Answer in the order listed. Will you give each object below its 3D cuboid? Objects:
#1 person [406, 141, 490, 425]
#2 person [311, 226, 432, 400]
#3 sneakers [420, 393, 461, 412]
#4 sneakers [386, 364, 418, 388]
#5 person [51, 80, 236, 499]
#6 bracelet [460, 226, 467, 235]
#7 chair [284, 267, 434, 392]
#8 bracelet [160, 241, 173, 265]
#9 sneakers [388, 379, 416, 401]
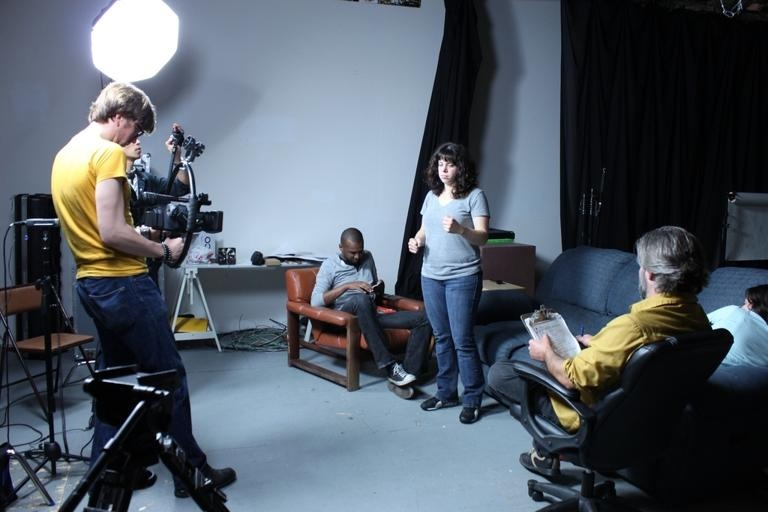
[{"bbox_3d":[0.457,0.171,3.636,0.519,1.798,0.471,5,14,18],"label":"person"},{"bbox_3d":[-0.090,0.404,4.205,0.706,1.257,0.960,-4,-9,-29],"label":"person"},{"bbox_3d":[0.395,1.030,3.814,0.274,0.126,0.103,1,-2,-16],"label":"sneakers"},{"bbox_3d":[0.118,0.867,3.982,0.106,0.135,0.287,-34,9,-18],"label":"sneakers"},{"bbox_3d":[-1.343,-0.112,2.752,0.638,1.498,0.343,2,14,4],"label":"person"},{"bbox_3d":[0.502,-0.155,3.420,0.029,0.043,0.041,3,9,-4],"label":"bracelet"},{"bbox_3d":[-0.236,0.524,4.300,0.858,0.875,1.005,-1,3,-37],"label":"chair"},{"bbox_3d":[-1.140,-0.010,2.845,0.032,0.081,0.091,-9,-16,-15],"label":"bracelet"},{"bbox_3d":[0.117,0.972,3.989,0.241,0.085,0.095,25,6,42],"label":"sneakers"}]
